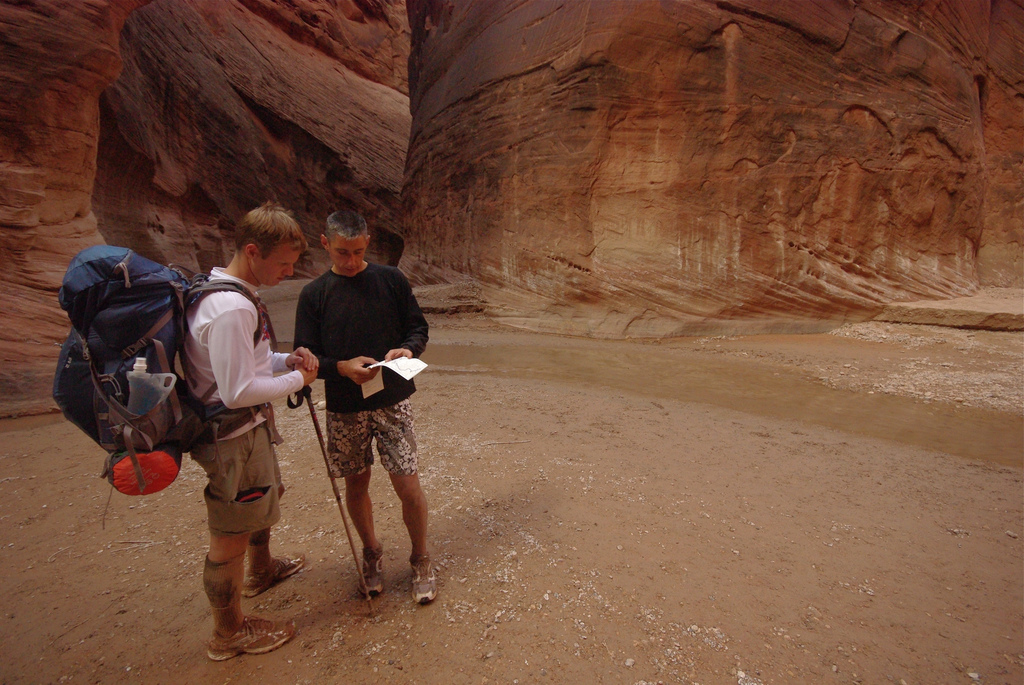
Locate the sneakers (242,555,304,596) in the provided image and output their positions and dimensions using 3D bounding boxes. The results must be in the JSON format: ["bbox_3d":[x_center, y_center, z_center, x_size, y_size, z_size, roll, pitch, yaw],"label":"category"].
[{"bbox_3d":[-2.084,2.038,6.156,0.231,0.194,0.465,6,16,41],"label":"sneakers"}]
